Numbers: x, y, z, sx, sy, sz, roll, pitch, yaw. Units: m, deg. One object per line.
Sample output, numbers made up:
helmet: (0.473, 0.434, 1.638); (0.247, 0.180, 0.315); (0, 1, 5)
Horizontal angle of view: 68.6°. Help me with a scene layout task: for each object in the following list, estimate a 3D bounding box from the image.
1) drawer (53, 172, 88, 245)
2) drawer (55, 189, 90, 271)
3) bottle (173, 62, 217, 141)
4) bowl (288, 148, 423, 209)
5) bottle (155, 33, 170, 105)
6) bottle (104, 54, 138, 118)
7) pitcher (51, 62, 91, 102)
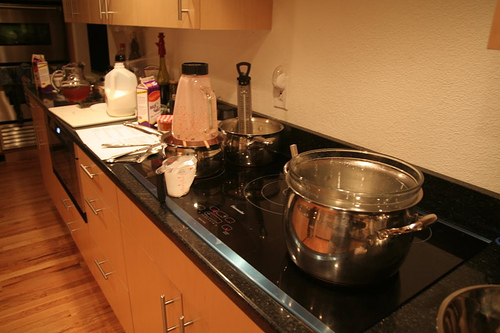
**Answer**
drawer: (-1.180, 0.301, 2.467); (0.240, 0.456, 0.364); (-10, 25, -24)
drawer: (-1.227, 0.451, 2.585); (0.261, 0.510, 0.483); (-10, 24, -23)
bottle: (-0.238, -0.287, 1.664); (0.232, 0.346, 0.302); (-9, 23, -26)
bowl: (0.333, 0.033, 1.189); (0.268, 0.098, 0.260); (1, 20, 0)
bottle: (-0.592, -0.674, 2.522); (0.087, 0.446, 0.254); (-4, 26, -12)
bottle: (-0.813, -0.486, 2.333); (0.200, 0.316, 0.255); (-6, 26, -15)
pitcher: (-1.327, -0.643, 2.721); (0.233, 0.253, 0.417); (-13, 28, -28)
